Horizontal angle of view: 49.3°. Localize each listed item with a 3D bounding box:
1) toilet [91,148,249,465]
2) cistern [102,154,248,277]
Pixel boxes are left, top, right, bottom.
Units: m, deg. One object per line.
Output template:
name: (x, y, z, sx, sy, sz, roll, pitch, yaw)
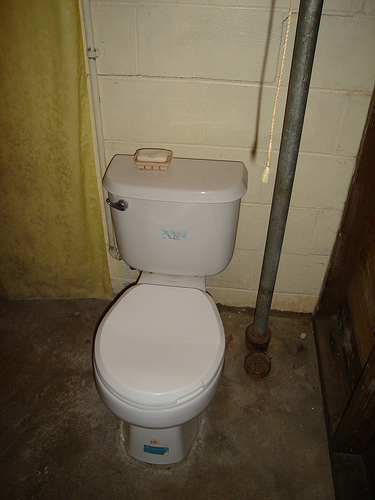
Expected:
toilet: (-0.056, 0.222, 1.376, 0.466, 0.860, 0.746, 1, 35, -1)
cistern: (-0.006, -0.096, 1.536, 0.583, 0.447, 0.356, 5, 49, 7)
